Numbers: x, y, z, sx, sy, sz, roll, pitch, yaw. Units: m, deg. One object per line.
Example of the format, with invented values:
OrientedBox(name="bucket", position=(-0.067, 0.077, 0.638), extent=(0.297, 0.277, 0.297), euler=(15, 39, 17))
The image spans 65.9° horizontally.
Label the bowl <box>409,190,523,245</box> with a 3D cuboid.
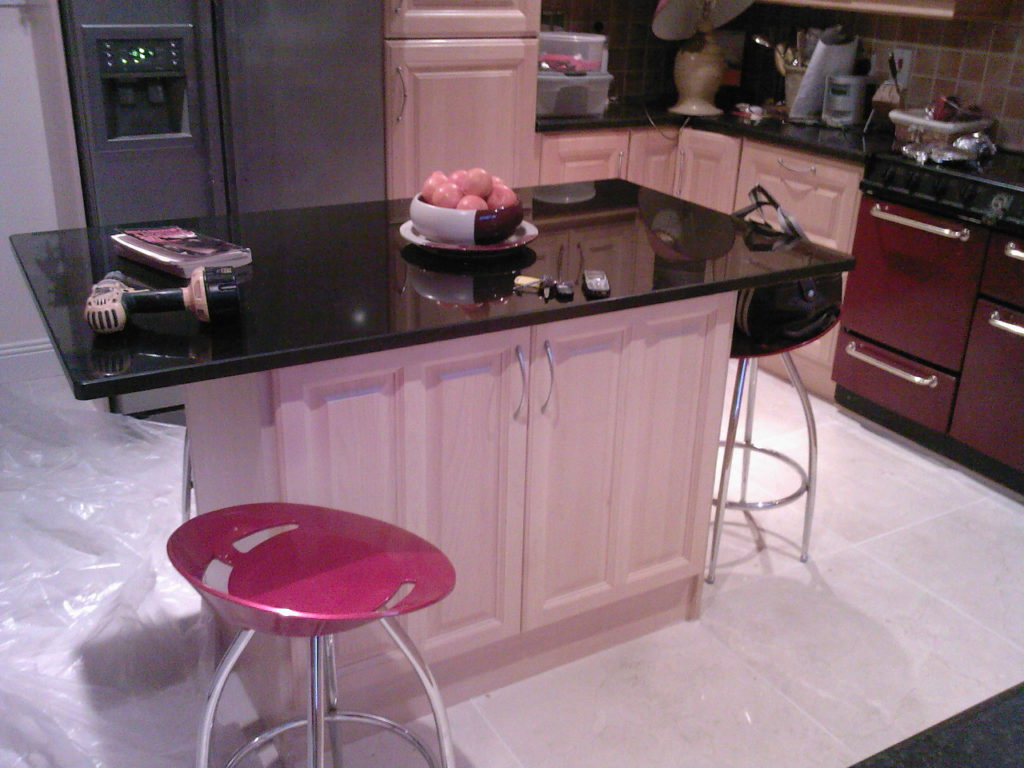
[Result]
OrientedBox(name="bowl", position=(-0.125, -0.434, 2.087), extent=(0.290, 0.111, 0.179), euler=(-1, 27, -1))
